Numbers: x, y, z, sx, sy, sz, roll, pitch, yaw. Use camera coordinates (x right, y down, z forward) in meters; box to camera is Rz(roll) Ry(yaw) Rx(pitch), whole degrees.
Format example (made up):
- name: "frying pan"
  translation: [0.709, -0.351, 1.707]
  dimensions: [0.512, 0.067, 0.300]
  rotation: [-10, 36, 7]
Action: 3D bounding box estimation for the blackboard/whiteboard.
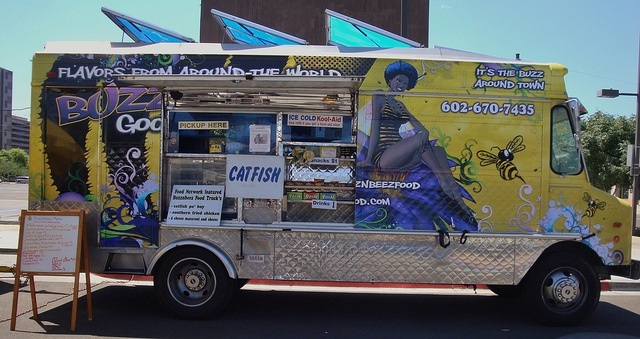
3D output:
- name: "blackboard/whiteboard"
  translation: [-6.612, 1.825, 15.707]
  dimensions: [1.681, 1.544, 0.587]
  rotation: [1, -7, -1]
